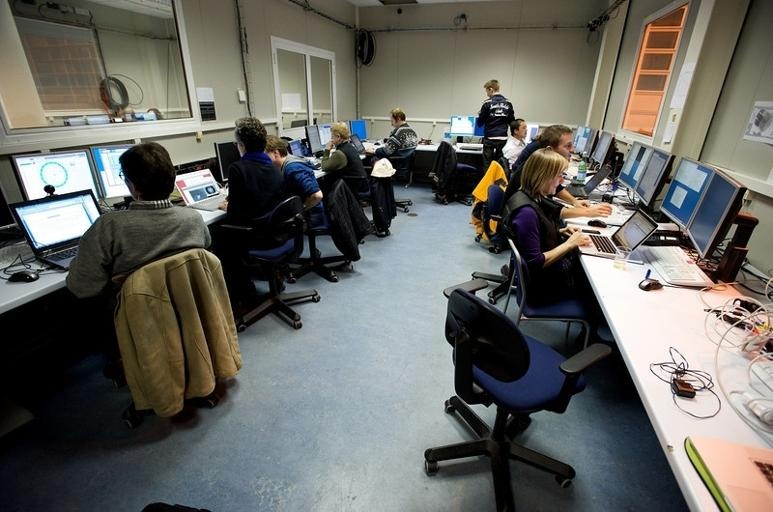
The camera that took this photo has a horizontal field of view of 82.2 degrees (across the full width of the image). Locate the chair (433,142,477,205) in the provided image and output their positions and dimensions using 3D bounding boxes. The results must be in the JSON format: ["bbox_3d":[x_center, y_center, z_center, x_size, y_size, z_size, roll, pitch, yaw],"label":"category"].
[{"bbox_3d":[1.096,-1.377,7.018,0.572,1.019,1.285,13,26,24],"label":"chair"}]

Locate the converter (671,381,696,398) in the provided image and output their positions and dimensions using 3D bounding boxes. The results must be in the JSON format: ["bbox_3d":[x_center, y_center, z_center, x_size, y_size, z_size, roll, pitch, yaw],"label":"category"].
[{"bbox_3d":[1.629,0.729,2.429,0.118,0.064,0.069,9,25,15],"label":"converter"}]

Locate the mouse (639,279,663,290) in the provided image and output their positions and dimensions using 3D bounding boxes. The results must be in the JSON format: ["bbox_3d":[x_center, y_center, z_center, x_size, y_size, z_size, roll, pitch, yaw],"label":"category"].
[{"bbox_3d":[1.796,0.192,2.995,0.115,0.038,0.080,-6,23,-17],"label":"mouse"}]

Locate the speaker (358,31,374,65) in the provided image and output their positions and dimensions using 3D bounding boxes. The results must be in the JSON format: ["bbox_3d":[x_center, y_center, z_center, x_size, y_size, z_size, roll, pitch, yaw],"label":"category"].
[{"bbox_3d":[-0.400,-4.039,8.583,0.336,0.620,0.279,8,25,15],"label":"speaker"}]

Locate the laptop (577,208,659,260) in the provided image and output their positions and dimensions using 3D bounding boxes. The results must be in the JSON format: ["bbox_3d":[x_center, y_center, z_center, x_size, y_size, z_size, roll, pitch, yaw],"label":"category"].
[{"bbox_3d":[1.746,-0.128,3.412,0.440,0.278,0.454,3,22,1],"label":"laptop"}]

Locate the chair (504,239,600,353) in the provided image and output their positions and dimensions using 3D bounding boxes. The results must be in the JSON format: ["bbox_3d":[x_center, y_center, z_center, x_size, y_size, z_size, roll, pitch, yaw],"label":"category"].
[{"bbox_3d":[1.268,0.288,3.319,0.562,0.953,0.541,-1,31,10],"label":"chair"}]

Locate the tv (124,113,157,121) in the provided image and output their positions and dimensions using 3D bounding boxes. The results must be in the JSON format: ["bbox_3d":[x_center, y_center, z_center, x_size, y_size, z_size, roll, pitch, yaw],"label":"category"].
[{"bbox_3d":[-2.501,-1.414,4.487,0.305,0.071,0.279,-8,26,-22],"label":"tv"}]

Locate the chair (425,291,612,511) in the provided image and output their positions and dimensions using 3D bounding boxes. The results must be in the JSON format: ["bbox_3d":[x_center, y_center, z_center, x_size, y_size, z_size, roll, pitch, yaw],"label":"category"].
[{"bbox_3d":[0.887,1.016,2.937,0.844,1.011,0.811,-23,38,-25],"label":"chair"}]

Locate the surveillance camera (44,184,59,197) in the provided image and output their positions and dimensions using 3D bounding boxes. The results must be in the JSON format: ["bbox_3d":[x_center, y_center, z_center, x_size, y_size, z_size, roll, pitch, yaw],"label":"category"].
[{"bbox_3d":[-2.512,-0.491,3.298,0.092,0.098,0.092,-10,21,-27],"label":"surveillance camera"}]

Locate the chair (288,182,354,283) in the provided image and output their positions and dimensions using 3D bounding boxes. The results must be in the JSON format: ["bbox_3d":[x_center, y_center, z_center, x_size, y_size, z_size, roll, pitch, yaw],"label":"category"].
[{"bbox_3d":[-0.652,-0.231,4.371,0.689,0.842,0.719,10,31,9],"label":"chair"}]

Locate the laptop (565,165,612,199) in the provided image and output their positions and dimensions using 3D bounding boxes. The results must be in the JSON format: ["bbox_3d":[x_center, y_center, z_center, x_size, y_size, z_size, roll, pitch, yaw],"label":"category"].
[{"bbox_3d":[2.159,-0.765,4.635,0.421,0.339,0.484,11,27,4],"label":"laptop"}]

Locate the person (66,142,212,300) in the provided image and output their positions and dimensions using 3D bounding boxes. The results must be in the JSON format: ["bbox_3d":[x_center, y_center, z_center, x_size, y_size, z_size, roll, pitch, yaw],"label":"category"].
[{"bbox_3d":[-1.642,-0.220,2.828,0.814,0.925,0.344,-16,30,-35],"label":"person"}]

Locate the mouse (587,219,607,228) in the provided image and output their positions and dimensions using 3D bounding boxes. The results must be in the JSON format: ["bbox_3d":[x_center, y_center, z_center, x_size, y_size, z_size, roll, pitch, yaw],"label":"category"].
[{"bbox_3d":[1.821,-0.291,3.820,0.075,0.040,0.121,-14,16,-40],"label":"mouse"}]

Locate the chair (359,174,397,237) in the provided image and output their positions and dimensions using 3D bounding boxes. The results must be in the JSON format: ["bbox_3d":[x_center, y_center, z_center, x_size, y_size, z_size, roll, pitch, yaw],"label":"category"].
[{"bbox_3d":[-0.114,-0.609,5.300,0.334,0.991,0.618,9,22,17],"label":"chair"}]

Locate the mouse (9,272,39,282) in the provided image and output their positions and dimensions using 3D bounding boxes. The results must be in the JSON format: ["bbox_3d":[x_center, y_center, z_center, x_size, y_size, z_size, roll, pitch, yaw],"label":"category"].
[{"bbox_3d":[-2.442,0.135,2.990,0.169,0.054,0.085,-3,15,-8],"label":"mouse"}]

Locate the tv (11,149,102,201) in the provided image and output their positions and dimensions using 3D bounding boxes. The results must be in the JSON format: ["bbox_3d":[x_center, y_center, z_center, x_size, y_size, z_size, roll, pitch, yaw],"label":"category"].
[{"bbox_3d":[-2.531,-0.619,3.370,0.043,0.307,0.422,-4,15,35],"label":"tv"}]
